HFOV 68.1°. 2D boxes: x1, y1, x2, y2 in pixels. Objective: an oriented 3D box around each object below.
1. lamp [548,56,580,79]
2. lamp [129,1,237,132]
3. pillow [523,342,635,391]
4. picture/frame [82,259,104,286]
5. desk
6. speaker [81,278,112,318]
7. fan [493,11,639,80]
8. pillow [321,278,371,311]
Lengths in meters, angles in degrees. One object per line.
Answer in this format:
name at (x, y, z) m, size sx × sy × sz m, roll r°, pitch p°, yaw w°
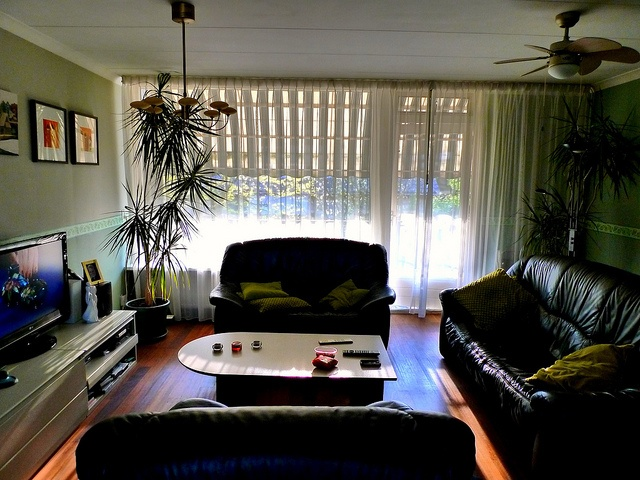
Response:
lamp at (1.771, -1.238, 3.430) m, size 0.157 × 0.104 × 0.164 m, roll -1°, pitch 1°, yaw 20°
lamp at (-1.263, -1.564, 4.243) m, size 0.840 × 0.931 × 0.830 m, roll -2°, pitch 0°, yaw 34°
pillow at (1.666, 0.816, 2.987) m, size 0.362 × 0.126 × 0.358 m, roll -19°, pitch 11°, yaw 31°
picture/frame at (-2.153, 0.308, 4.439) m, size 0.136 × 0.242 × 0.174 m, roll 2°, pitch 10°, yaw 28°
desk at (-0.240, 1.028, 3.539) m, size 1.521 × 0.534 × 0.717 m, roll -1°, pitch 9°, yaw 1°
speaker at (-1.899, 0.501, 4.145) m, size 0.274 × 0.334 × 0.284 m, roll 1°, pitch 8°, yaw -3°
fan at (1.888, -1.310, 3.519) m, size 0.694 × 0.322 × 0.717 m, roll 2°, pitch 4°, yaw -3°
pillow at (0.213, 0.527, 4.517) m, size 0.269 × 0.091 × 0.294 m, roll -9°, pitch 26°, yaw 46°
